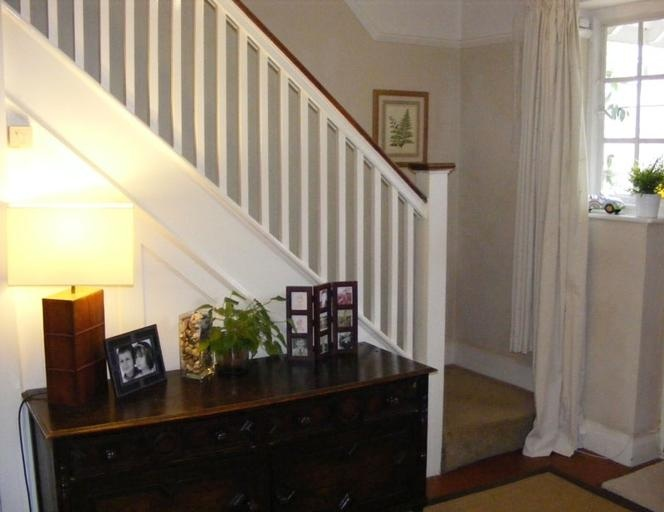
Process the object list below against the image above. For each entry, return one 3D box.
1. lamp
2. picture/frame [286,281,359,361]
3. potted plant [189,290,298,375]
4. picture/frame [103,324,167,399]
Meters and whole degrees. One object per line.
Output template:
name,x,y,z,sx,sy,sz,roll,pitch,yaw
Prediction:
lamp,-1.075,0.191,2.692,0.516,0.834,0.184,-5,4,-20
picture/frame,-0.048,0.322,3.217,0.365,0.396,0.073,-5,15,-19
potted plant,-0.433,0.302,3.030,0.364,0.246,0.363,-6,7,-32
picture/frame,-0.868,0.465,2.805,0.026,0.261,0.252,2,11,45
